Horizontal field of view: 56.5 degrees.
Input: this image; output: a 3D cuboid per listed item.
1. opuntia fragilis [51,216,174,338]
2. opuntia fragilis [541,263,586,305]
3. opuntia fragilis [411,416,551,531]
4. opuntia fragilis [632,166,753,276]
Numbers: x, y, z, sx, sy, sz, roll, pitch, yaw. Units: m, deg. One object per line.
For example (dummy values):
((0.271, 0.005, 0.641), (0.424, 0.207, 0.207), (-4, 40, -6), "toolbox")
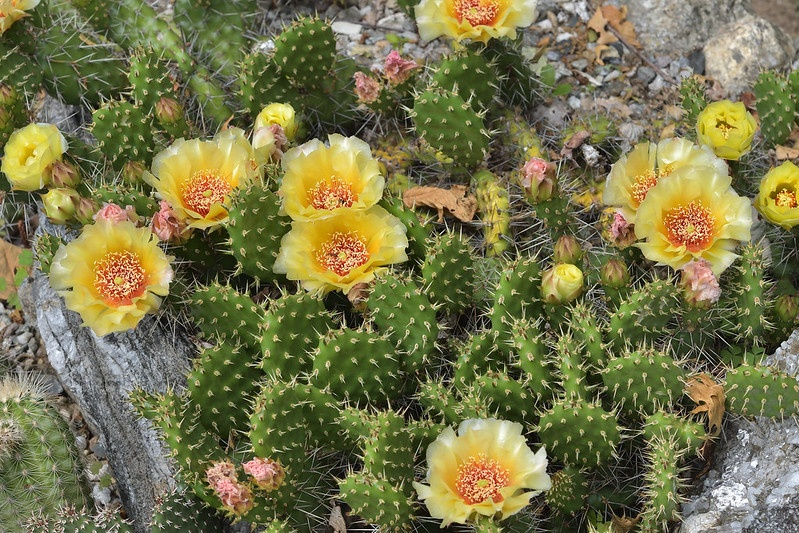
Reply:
((-1.032, 0.018, 2.666), (0.380, 0.114, 0.380), (-44, 87, -3), "opuntia fragilis")
((0.585, 0.065, 2.727), (0.146, 0.132, 0.124), (-20, 35, 4), "opuntia fragilis")
((0.264, 0.660, 2.402), (0.436, 0.108, 0.321), (-17, 86, -1), "opuntia fragilis")
((1.055, -0.174, 2.670), (0.393, 0.089, 0.375), (10, 86, 1), "opuntia fragilis")
